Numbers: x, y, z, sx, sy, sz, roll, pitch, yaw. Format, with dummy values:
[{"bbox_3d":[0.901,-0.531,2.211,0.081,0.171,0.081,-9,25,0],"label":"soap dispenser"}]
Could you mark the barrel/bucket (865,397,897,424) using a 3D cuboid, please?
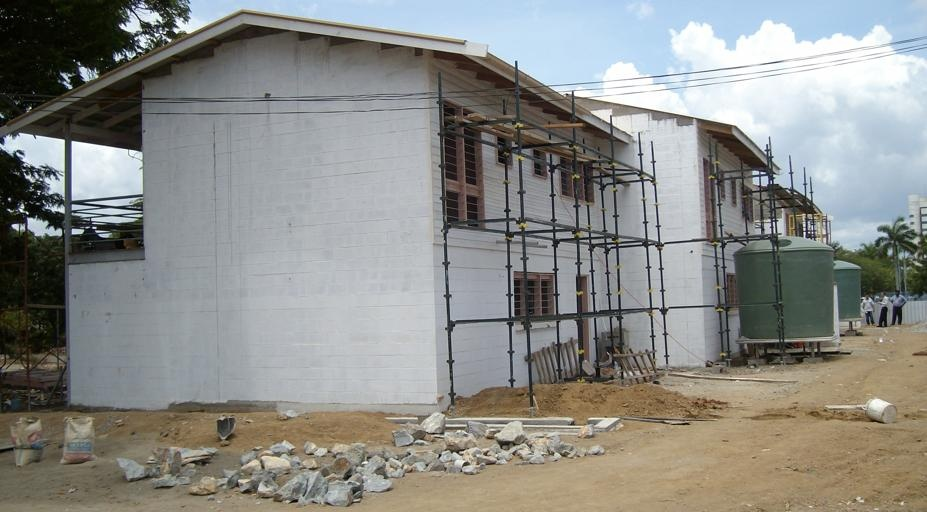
[{"bbox_3d":[10.967,4.058,21.807,0.728,0.546,0.707,7,10,-1],"label":"barrel/bucket"}]
